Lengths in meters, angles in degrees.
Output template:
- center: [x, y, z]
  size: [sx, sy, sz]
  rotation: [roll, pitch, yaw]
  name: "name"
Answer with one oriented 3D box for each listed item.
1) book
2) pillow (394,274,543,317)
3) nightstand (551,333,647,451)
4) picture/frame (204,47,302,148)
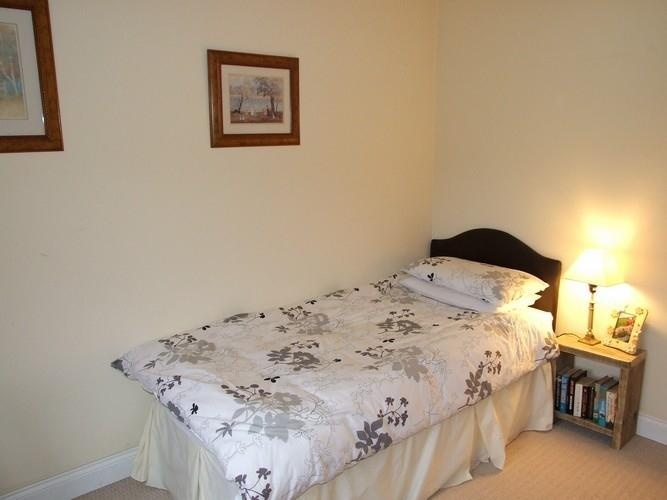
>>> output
- center: [1.691, 0.989, 3.373]
  size: [0.454, 0.286, 0.347]
  rotation: [9, 7, 24]
  name: "book"
- center: [0.842, 0.329, 3.494]
  size: [0.551, 0.094, 0.372]
  rotation: [13, 7, 31]
  name: "pillow"
- center: [1.769, 0.959, 3.292]
  size: [0.372, 0.675, 0.592]
  rotation: [-14, 19, -42]
  name: "nightstand"
- center: [-0.550, -0.998, 3.216]
  size: [0.710, 0.603, 0.054]
  rotation: [-7, 12, -35]
  name: "picture/frame"
